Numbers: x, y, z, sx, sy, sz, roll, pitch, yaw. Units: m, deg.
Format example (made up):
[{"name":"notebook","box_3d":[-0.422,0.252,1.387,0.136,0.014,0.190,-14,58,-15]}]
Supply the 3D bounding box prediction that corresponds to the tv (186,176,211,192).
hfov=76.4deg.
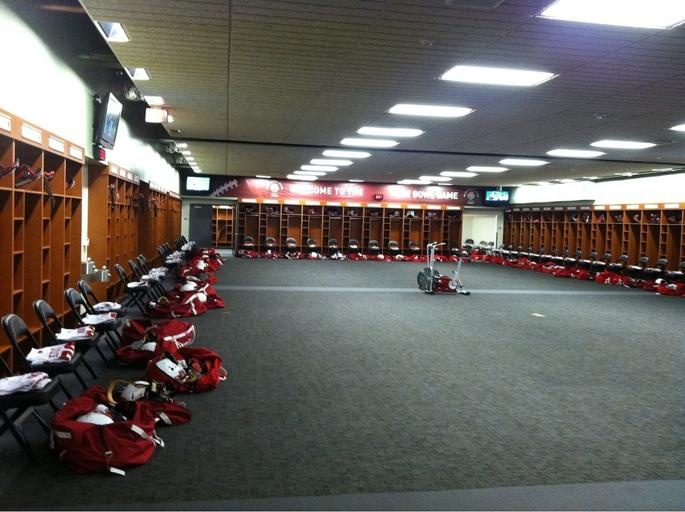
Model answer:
[{"name":"tv","box_3d":[-6.671,-3.321,19.921,1.056,0.540,0.088,1,13,-7]}]
